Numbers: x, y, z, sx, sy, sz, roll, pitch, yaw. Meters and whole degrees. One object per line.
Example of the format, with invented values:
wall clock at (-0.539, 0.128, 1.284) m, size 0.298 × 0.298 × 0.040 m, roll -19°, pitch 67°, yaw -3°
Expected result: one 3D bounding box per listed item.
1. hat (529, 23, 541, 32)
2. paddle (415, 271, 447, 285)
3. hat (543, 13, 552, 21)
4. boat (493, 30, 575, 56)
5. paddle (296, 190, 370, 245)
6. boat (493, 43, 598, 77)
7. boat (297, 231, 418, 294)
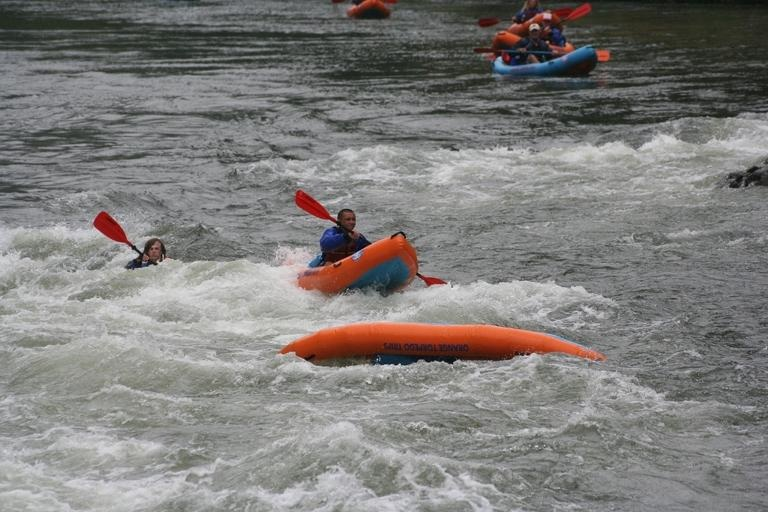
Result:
hat at (4.284, -6.497, 28.080) m, size 0.362 × 0.130 × 0.376 m, roll -3°, pitch -4°, yaw 7°
paddle at (0.779, 0.345, 15.962) m, size 0.494 × 0.243 × 0.459 m, roll 2°, pitch 22°, yaw 2°
hat at (4.679, -6.823, 28.233) m, size 0.254 × 0.196 × 0.117 m, roll 5°, pitch 31°, yaw 7°
boat at (4.289, -6.312, 29.097) m, size 2.417 × 0.464 × 1.500 m, roll 10°, pitch 15°, yaw 32°
paddle at (-0.956, -0.740, 16.861) m, size 1.746 × 0.230 × 0.178 m, roll 23°, pitch 3°, yaw 21°
boat at (4.557, -5.446, 27.621) m, size 1.135 × 1.015 × 2.701 m, roll -17°, pitch 27°, yaw -34°
boat at (-0.355, 0.198, 15.741) m, size 1.950 × 0.390 × 0.969 m, roll -16°, pitch -30°, yaw 27°
